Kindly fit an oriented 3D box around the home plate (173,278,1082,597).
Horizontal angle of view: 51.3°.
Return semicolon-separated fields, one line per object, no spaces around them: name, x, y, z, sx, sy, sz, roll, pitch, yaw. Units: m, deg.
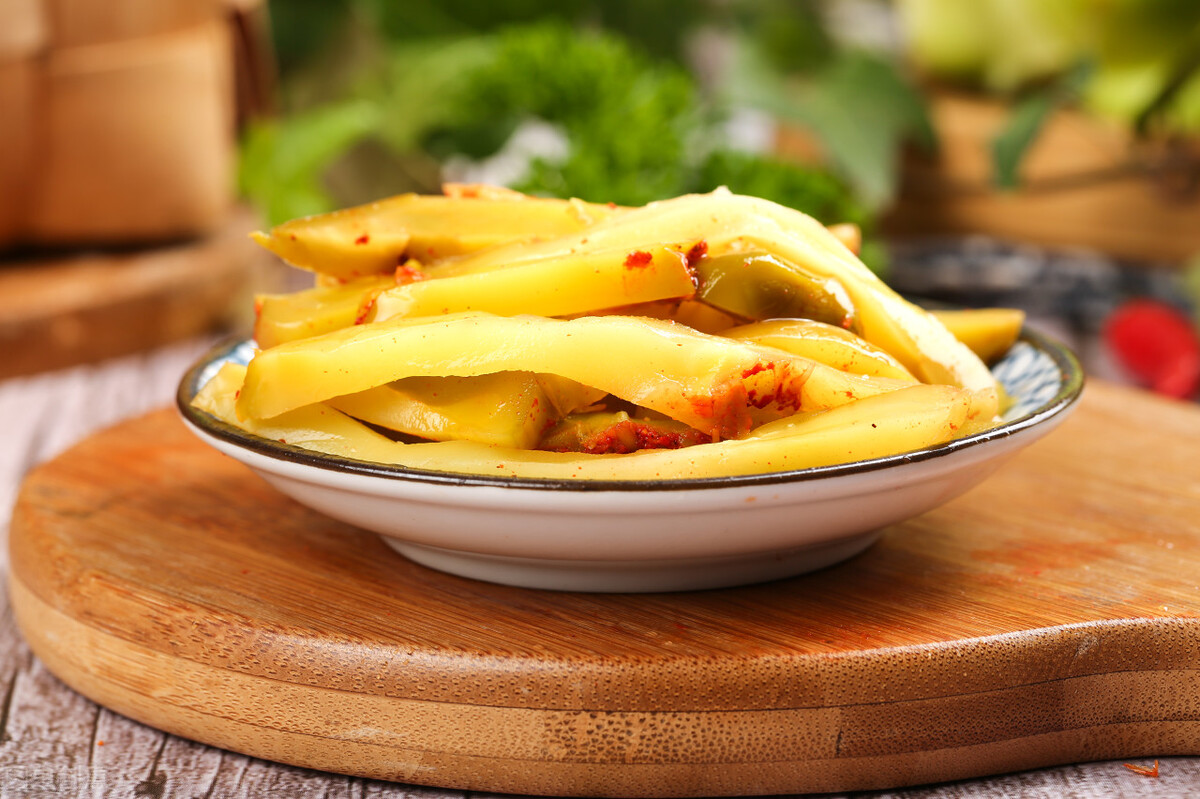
home plate;0.073;0.061;1.191;0.919;0.185;0.312;-4;32;-7

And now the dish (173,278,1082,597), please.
dish;0.086;0.051;1.209;0.902;0.184;0.358;-6;31;-12
